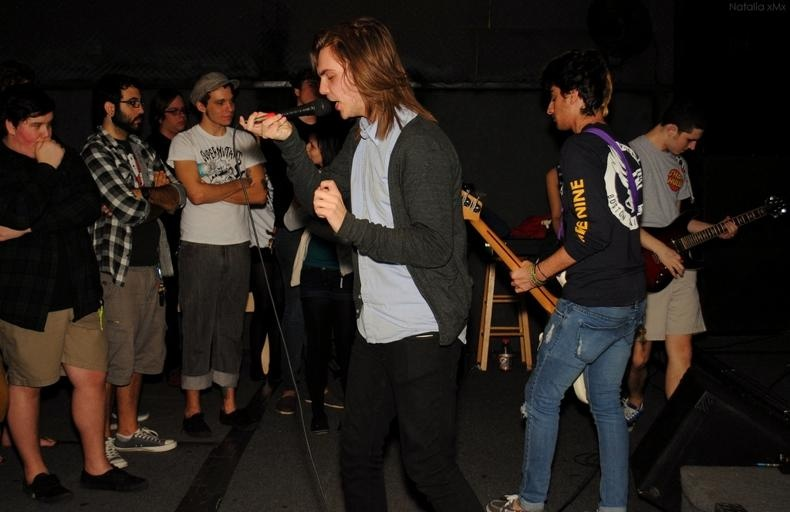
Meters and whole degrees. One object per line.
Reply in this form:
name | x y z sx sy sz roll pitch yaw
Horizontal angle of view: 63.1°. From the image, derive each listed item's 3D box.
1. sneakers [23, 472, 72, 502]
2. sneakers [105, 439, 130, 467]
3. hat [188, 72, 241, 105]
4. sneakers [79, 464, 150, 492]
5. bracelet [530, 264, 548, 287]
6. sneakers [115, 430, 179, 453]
sneakers | -2.403 1.587 4.457 0.316 0.122 0.168 8 1 33
sneakers | -2.115 1.498 4.886 0.102 0.122 0.296 -1 3 -32
hat | -1.452 -1.405 5.196 0.377 0.183 0.269 -28 -2 30
sneakers | -2.005 1.592 4.644 0.452 0.173 0.181 2 -5 -6
bracelet | 0.950 0.138 4.261 0.059 0.128 0.116 -21 -28 15
sneakers | -1.950 1.437 5.114 0.540 0.206 0.180 1 0 -8
